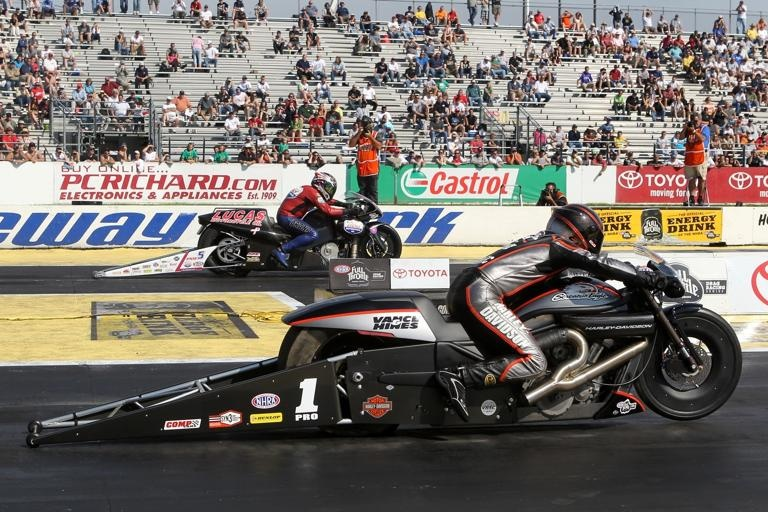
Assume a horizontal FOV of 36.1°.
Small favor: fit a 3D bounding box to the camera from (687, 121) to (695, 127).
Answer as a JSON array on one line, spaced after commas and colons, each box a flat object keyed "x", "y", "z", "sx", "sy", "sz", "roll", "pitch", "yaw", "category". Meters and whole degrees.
[{"x": 7.735, "y": -3.392, "z": 29.934, "sx": 0.164, "sy": 0.149, "sz": 0.295, "roll": -1, "pitch": 10, "yaw": 0, "category": "camera"}]

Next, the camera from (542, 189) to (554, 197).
[{"x": 4.286, "y": -1.671, "z": 30.893, "sx": 0.215, "sy": 0.159, "sz": 0.245, "roll": -4, "pitch": 10, "yaw": -16, "category": "camera"}]

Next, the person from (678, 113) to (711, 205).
[{"x": 8.001, "y": -2.494, "z": 30.689, "sx": 0.611, "sy": 2.392, "sz": 1.511, "roll": 1, "pitch": 11, "yaw": 14, "category": "person"}]

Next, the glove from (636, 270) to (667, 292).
[{"x": 3.339, "y": 0.302, "z": 14.815, "sx": 0.332, "sy": 0.125, "sz": 0.236, "roll": 9, "pitch": 7, "yaw": 41, "category": "glove"}]

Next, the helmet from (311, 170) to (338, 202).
[{"x": -1.157, "y": -1.453, "z": 23.869, "sx": 0.687, "sy": 0.515, "sz": 0.479, "roll": 7, "pitch": 7, "yaw": 3, "category": "helmet"}]
